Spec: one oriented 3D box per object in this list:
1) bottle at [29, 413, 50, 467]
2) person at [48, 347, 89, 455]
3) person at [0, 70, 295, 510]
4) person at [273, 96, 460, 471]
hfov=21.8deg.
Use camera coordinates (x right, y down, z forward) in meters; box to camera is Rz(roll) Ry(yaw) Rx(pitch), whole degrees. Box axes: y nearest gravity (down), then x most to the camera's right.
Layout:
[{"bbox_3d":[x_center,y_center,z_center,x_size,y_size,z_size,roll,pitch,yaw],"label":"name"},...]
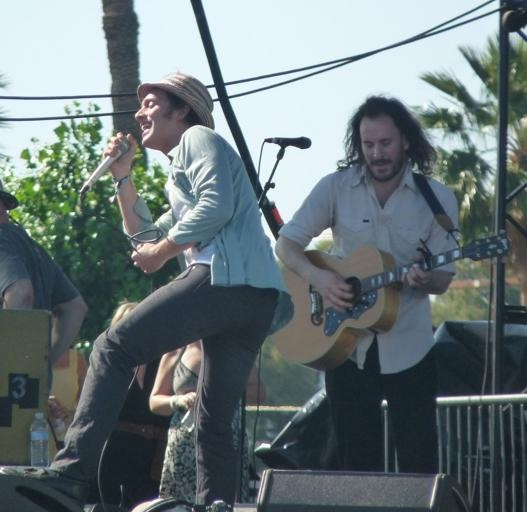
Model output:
[{"bbox_3d":[-1.187,0.951,7.189,0.094,0.279,0.193,-1,-8,-10],"label":"bottle"},{"bbox_3d":[-1.403,1.005,9.679,0.223,0.722,0.199,13,-26,-12],"label":"person"},{"bbox_3d":[-0.455,0.128,7.310,1.273,2.350,0.767,-1,-8,-12],"label":"person"},{"bbox_3d":[0.679,0.151,8.192,1.013,2.260,0.430,-8,-10,33],"label":"person"}]
